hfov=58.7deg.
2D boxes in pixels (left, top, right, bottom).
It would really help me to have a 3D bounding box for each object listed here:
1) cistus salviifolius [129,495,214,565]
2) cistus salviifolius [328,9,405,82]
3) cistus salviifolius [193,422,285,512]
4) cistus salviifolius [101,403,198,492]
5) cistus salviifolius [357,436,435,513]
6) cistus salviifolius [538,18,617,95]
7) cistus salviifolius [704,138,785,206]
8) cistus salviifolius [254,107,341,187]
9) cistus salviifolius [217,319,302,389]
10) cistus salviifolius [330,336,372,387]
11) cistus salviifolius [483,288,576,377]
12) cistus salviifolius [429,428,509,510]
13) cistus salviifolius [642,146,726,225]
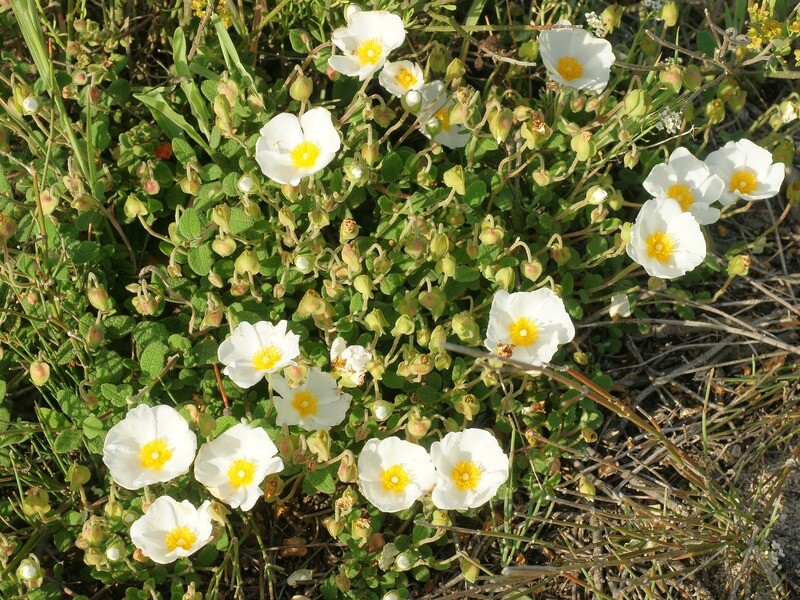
[{"bbox_3d":[-0.932,0.964,2.980,0.268,0.130,0.311,29,76,17],"label":"cistus salviifolius"},{"bbox_3d":[-0.176,-1.217,3.343,0.379,0.138,0.280,-32,79,-15],"label":"cistus salviifolius"},{"bbox_3d":[-0.692,0.672,2.988,0.296,0.114,0.320,27,72,1],"label":"cistus salviifolius"},{"bbox_3d":[-1.053,0.615,2.926,0.326,0.149,0.403,-5,78,3],"label":"cistus salviifolius"},{"bbox_3d":[-0.022,0.792,3.194,0.343,0.246,0.303,0,73,-7],"label":"cistus salviifolius"},{"bbox_3d":[0.895,-1.237,3.668,0.391,0.154,0.327,0,73,-7],"label":"cistus salviifolius"},{"bbox_3d":[1.776,-0.669,3.774,0.356,0.377,0.178,-11,104,-28],"label":"cistus salviifolius"},{"bbox_3d":[-0.470,-0.692,3.406,0.356,0.154,0.383,44,89,8],"label":"cistus salviifolius"},{"bbox_3d":[-0.558,0.231,3.025,0.346,0.384,0.163,19,113,24],"label":"cistus salviifolius"},{"bbox_3d":[-0.219,0.293,3.197,0.198,0.100,0.215,34,52,-33],"label":"cistus salviifolius"},{"bbox_3d":[0.589,0.161,3.321,0.441,0.380,0.330,-2,72,-7],"label":"cistus salviifolius"},{"bbox_3d":[0.292,0.731,3.053,0.372,0.406,0.150,7,92,13],"label":"cistus salviifolius"},{"bbox_3d":[1.448,-0.567,3.659,0.366,0.388,0.142,16,59,46],"label":"cistus salviifolius"}]
